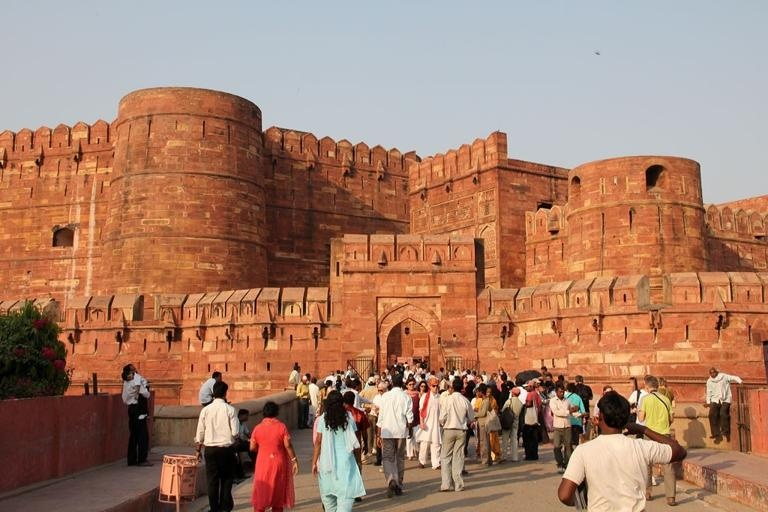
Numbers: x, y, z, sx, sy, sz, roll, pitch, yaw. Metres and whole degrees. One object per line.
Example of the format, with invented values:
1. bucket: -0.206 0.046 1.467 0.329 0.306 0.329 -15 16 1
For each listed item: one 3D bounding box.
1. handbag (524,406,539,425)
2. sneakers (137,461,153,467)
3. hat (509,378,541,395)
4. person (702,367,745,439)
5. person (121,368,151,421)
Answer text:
1. handbag: 2.877 3.095 14.798 0.362 0.379 0.302 3 -12 -16
2. sneakers: -4.078 3.534 12.995 0.250 0.096 0.089 -2 -3 5
3. hat: 2.910 2.639 15.440 0.438 0.257 0.331 3 -6 12
4. person: 6.853 2.859 15.160 0.786 1.593 0.429 -21 -45 38
5. person: -4.290 2.328 13.125 0.440 0.933 0.399 3 -15 -19
